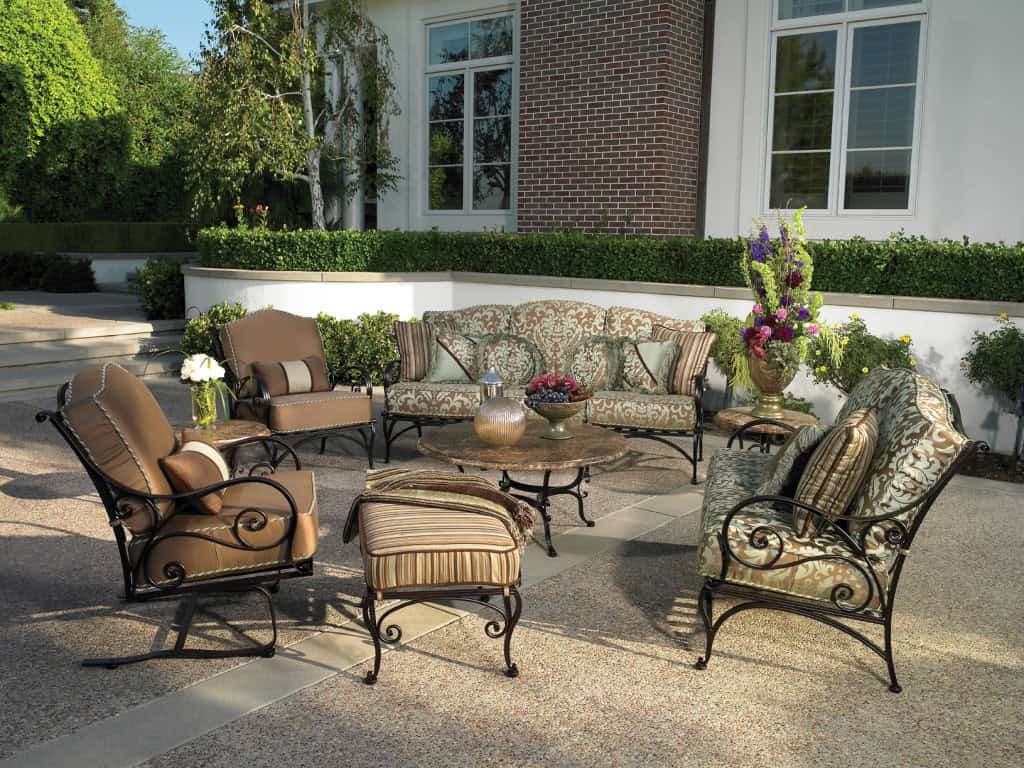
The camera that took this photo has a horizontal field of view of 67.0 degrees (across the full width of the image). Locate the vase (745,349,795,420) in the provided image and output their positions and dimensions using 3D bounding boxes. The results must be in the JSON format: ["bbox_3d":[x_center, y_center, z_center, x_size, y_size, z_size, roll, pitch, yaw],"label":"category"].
[{"bbox_3d":[2.231,-0.034,6.657,0.405,0.604,0.429,1,4,-27],"label":"vase"}]

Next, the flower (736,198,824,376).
[{"bbox_3d":[2.483,-0.882,7.165,0.714,1.403,1.912,4,13,15],"label":"flower"}]

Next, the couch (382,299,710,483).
[{"bbox_3d":[0.355,0.033,7.653,3.123,1.595,1.244,3,8,14],"label":"couch"}]

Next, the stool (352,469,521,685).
[{"bbox_3d":[-0.402,0.975,4.144,1.007,0.809,0.926,0,13,-6],"label":"stool"}]

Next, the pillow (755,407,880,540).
[{"bbox_3d":[1.591,0.462,3.859,0.527,0.625,0.252,-1,13,-7],"label":"pillow"}]

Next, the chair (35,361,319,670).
[{"bbox_3d":[-1.600,0.652,4.633,1.621,1.620,1.317,1,5,-7],"label":"chair"}]

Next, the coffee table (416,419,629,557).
[{"bbox_3d":[0.112,0.493,5.577,1.082,0.538,1.087,-3,12,-8],"label":"coffee table"}]

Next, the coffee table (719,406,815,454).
[{"bbox_3d":[2.074,0.498,6.455,0.657,0.412,0.652,-1,7,-6],"label":"coffee table"}]

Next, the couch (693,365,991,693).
[{"bbox_3d":[1.670,0.653,4.473,1.349,1.371,2.345,1,7,11],"label":"couch"}]
